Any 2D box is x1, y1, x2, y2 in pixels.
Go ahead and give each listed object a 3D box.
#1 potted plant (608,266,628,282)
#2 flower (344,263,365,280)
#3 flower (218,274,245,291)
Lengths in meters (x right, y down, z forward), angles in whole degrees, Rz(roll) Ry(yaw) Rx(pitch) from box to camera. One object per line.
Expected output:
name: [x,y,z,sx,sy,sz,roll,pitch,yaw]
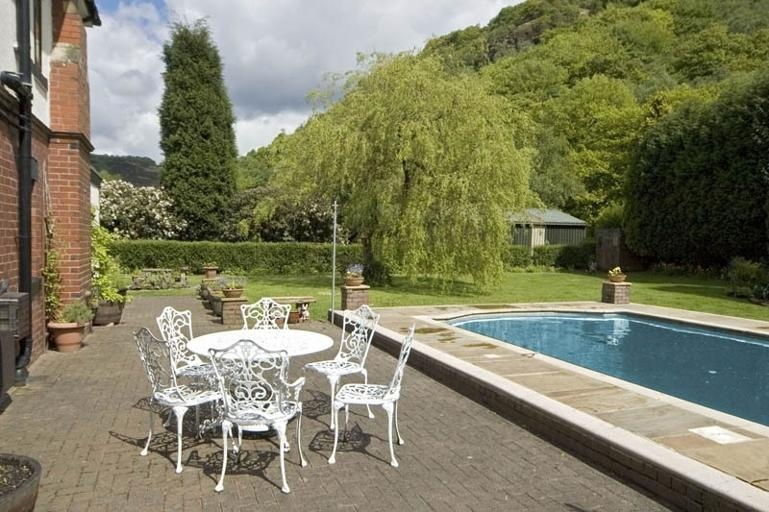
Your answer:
potted plant: [9.218,0.703,22.800,0.691,0.648,0.765,0,-2,-34]
flower: [-0.865,0.471,17.610,0.510,0.389,0.492,1,3,29]
flower: [-4.447,0.757,16.757,0.863,0.473,0.765,2,1,5]
